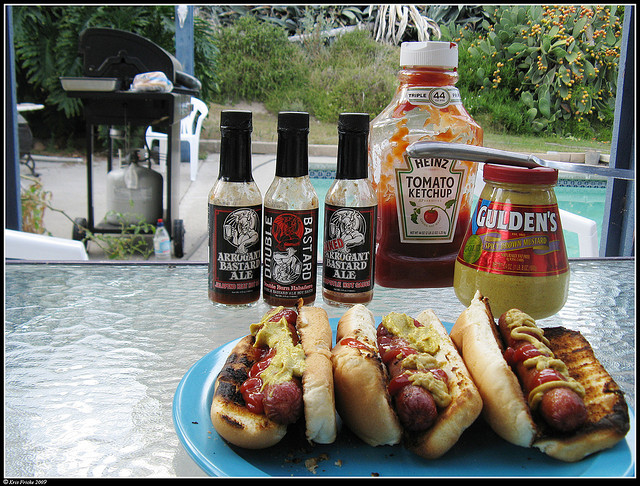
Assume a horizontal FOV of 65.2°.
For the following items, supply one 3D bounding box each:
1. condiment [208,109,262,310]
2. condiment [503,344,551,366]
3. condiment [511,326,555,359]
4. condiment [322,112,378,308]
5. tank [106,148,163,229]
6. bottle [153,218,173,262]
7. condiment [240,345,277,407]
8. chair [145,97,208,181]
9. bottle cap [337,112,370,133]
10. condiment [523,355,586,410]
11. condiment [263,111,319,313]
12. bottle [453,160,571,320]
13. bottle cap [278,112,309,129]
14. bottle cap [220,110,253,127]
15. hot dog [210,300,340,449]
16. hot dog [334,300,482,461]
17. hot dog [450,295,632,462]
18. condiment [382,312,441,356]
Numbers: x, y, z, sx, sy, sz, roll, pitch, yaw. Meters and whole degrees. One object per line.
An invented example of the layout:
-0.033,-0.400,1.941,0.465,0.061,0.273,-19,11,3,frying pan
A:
-0.124,-0.054,0.793,0.097,0.293,0.094,-1,11,-13,condiment
0.248,0.134,0.604,0.050,0.017,0.025,-16,38,9,condiment
0.259,0.116,0.619,0.029,0.013,0.054,6,20,-32,condiment
0.048,-0.051,0.816,0.086,0.308,0.085,0,4,0,condiment
-0.917,-0.306,2.813,0.387,0.544,0.396,1,3,-2,tank
-0.854,-0.011,2.732,0.098,0.254,0.327,-5,10,-17,bottle
-0.072,0.154,0.582,0.041,0.046,0.069,-1,9,3,condiment
-1.057,-0.880,3.954,0.442,0.974,0.459,-3,9,-8,chair
0.051,-0.182,0.759,0.047,0.031,0.031,-1,9,4,bottle cap
0.270,0.160,0.577,0.066,0.049,0.050,0,9,12,condiment
-0.048,-0.046,0.776,0.092,0.305,0.056,-3,10,-7,condiment
0.299,-0.003,0.781,0.171,0.230,0.164,0,15,0,bottle
-0.039,-0.182,0.747,0.046,0.025,0.030,-2,9,-4,bottle cap
-0.128,-0.194,0.777,0.046,0.033,0.084,-3,9,-9,bottle cap
-0.042,0.170,0.674,0.153,0.094,0.306,-15,10,0,hot dog
0.110,0.177,0.684,0.162,0.102,0.315,8,11,1,hot dog
0.255,0.139,0.583,0.132,0.057,0.173,2,32,-9,hot dog
0.119,0.116,0.646,0.065,0.044,0.066,5,0,-10,condiment
